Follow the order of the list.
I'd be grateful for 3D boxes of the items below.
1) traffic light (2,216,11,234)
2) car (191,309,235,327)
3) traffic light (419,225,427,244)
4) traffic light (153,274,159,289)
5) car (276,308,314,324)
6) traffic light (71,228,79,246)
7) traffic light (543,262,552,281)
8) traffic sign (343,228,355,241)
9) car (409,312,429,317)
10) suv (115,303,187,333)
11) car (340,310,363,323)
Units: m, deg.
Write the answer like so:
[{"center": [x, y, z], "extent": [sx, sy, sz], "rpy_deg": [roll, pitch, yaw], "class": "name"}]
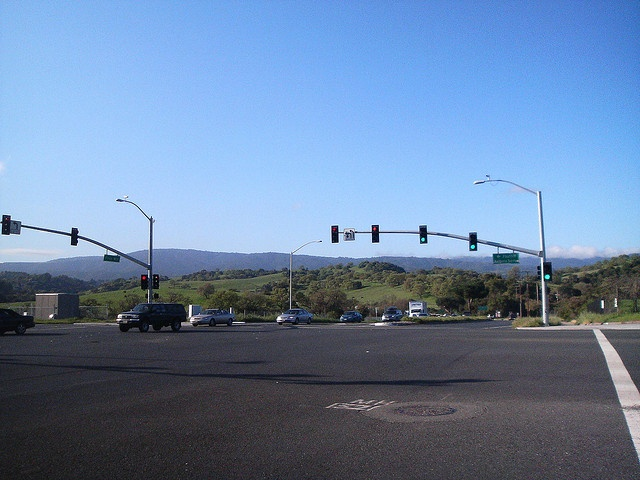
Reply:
[{"center": [-19.923, -0.928, 36.140], "extent": [0.471, 1.089, 0.463], "rpy_deg": [6, -9, -32], "class": "traffic light"}, {"center": [-8.472, 6.149, 45.209], "extent": [1.320, 1.091, 3.257], "rpy_deg": [-6, -13, 26], "class": "car"}, {"center": [7.320, -0.336, 40.154], "extent": [0.568, 1.052, 0.829], "rpy_deg": [0, -8, 10], "class": "traffic light"}, {"center": [-13.842, 3.497, 47.935], "extent": [0.477, 1.010, 2.368], "rpy_deg": [4, -9, -19], "class": "traffic light"}, {"center": [-2.288, 7.047, 52.258], "extent": [2.224, 1.461, 4.850], "rpy_deg": [-1, -9, 13], "class": "car"}, {"center": [-17.910, -0.185, 41.459], "extent": [0.373, 1.118, 0.887], "rpy_deg": [3, -8, -12], "class": "traffic light"}, {"center": [15.302, 2.122, 38.200], "extent": [0.434, 1.268, 1.115], "rpy_deg": [-4, -10, 33], "class": "traffic light"}, {"center": [2.153, -0.390, 41.501], "extent": [0.687, 0.773, 0.430], "rpy_deg": [2, -8, -9], "class": "traffic sign"}, {"center": [15.339, 11.628, 88.357], "extent": [2.267, 1.033, 3.369], "rpy_deg": [0, -4, 13], "class": "car"}, {"center": [-10.214, 4.789, 35.237], "extent": [1.397, 1.829, 4.091], "rpy_deg": [-6, -11, 39], "class": "suv"}, {"center": [3.440, 8.445, 62.611], "extent": [1.222, 1.086, 3.392], "rpy_deg": [-5, -10, 33], "class": "car"}]
